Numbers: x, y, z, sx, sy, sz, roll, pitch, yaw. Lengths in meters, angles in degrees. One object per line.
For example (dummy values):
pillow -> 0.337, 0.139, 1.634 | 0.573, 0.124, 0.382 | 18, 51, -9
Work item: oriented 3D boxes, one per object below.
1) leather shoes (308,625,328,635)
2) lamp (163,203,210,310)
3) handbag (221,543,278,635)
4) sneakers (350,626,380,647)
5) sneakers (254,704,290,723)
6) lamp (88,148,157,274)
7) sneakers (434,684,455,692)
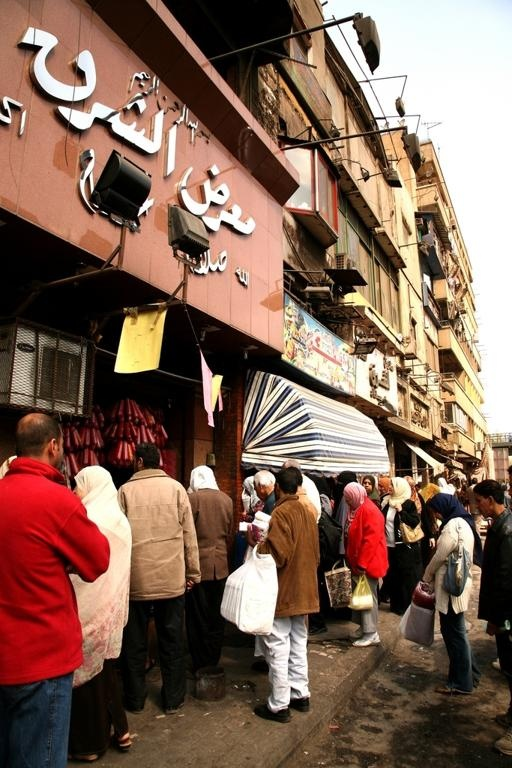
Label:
leather shoes -> 0.741, 3.023, 6.288 | 0.314, 0.152, 0.111 | 12, -22, -22
lamp -> -0.699, -1.158, 4.954 | 0.387, 0.915, 0.879 | 8, -11, -10
handbag -> -0.041, 1.535, 3.805 | 0.407, 0.605, 0.331 | 7, -11, -4
sneakers -> 1.227, 2.834, 5.721 | 0.385, 0.201, 0.142 | 8, -18, -17
sneakers -> 0.111, 2.332, 3.665 | 0.267, 0.120, 0.101 | -12, -14, 42
lamp -> -1.143, -1.357, 4.198 | 0.413, 0.867, 0.524 | 12, -13, -29
sneakers -> 1.740, 2.814, 4.748 | 0.068, 0.059, 0.124 | 16, -21, -35
